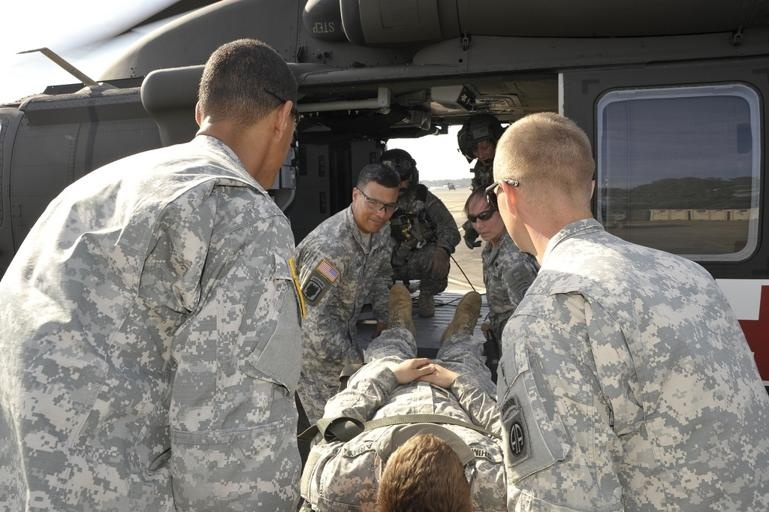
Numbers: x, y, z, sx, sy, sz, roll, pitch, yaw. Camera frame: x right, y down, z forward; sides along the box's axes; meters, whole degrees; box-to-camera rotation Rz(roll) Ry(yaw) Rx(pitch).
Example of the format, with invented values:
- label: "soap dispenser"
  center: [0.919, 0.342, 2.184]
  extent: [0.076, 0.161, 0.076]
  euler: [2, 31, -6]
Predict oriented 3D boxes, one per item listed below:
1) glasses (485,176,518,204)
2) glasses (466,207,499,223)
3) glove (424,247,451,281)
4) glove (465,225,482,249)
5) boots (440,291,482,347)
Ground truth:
- label: "glasses"
  center: [0.490, -0.283, 3.229]
  extent: [0.091, 0.028, 0.092]
  euler: [-36, 9, 0]
- label: "glasses"
  center: [0.647, -0.288, 5.008]
  extent: [0.110, 0.036, 0.112]
  euler: [-14, 10, 45]
- label: "glove"
  center: [0.471, 0.059, 6.516]
  extent: [0.181, 0.240, 0.087]
  euler: [1, -16, -21]
- label: "glove"
  center: [0.819, -0.173, 7.158]
  extent: [0.174, 0.217, 0.063]
  euler: [1, 12, 16]
- label: "boots"
  center: [0.566, 0.435, 5.280]
  extent: [0.163, 0.474, 0.182]
  euler: [35, -20, -22]
